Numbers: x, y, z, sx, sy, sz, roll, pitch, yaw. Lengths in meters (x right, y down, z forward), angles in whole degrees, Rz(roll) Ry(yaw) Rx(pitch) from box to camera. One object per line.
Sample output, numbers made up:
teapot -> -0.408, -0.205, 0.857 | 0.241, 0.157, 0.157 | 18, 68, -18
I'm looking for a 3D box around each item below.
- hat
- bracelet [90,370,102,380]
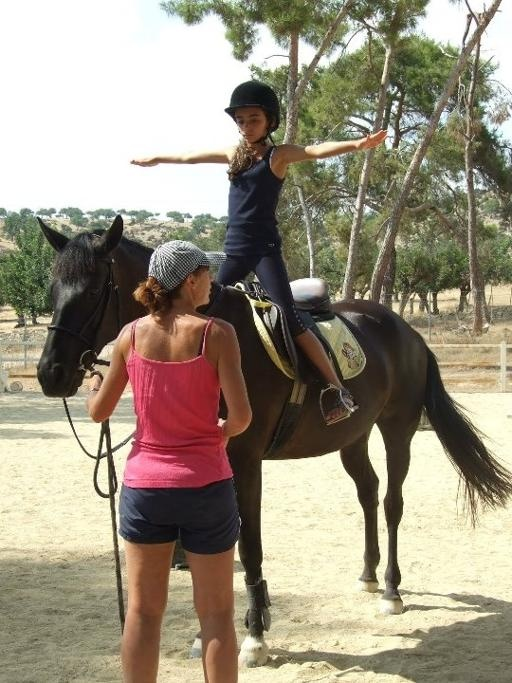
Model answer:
hat -> -0.279, -0.309, 2.829 | 0.294, 0.124, 0.179 | -20, 24, -37
bracelet -> -0.657, 0.141, 3.156 | 0.053, 0.040, 0.048 | 5, -6, -19
